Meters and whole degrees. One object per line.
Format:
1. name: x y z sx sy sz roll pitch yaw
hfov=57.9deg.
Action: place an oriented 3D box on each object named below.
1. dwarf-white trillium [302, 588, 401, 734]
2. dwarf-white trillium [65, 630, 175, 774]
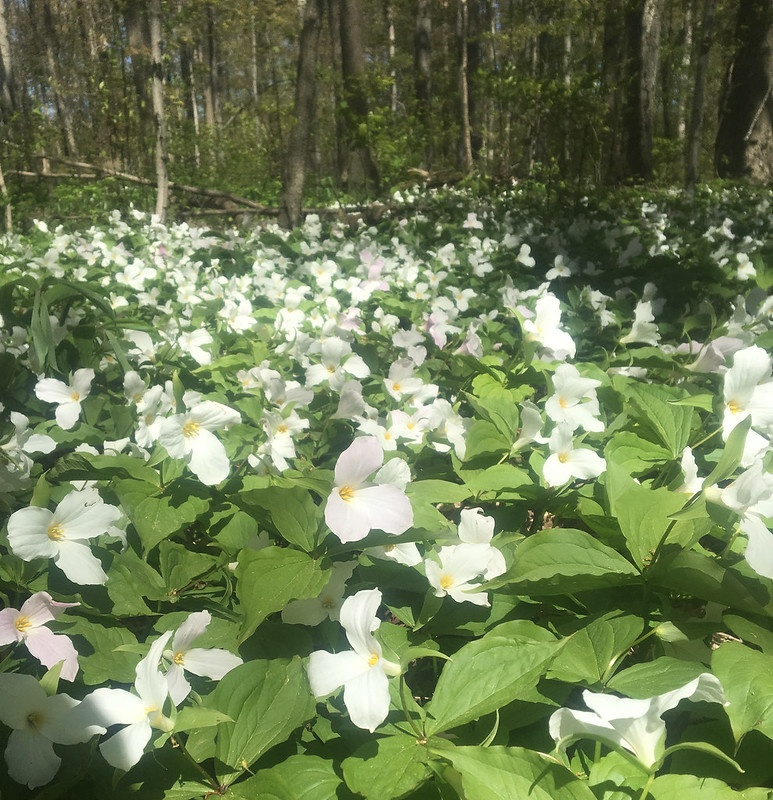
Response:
1. dwarf-white trillium: -0.043 0.407 1.071 0.155 0.210 0.125 12 23 35
2. dwarf-white trillium: -0.339 0.457 1.054 0.170 0.060 0.187 -4 6 22
